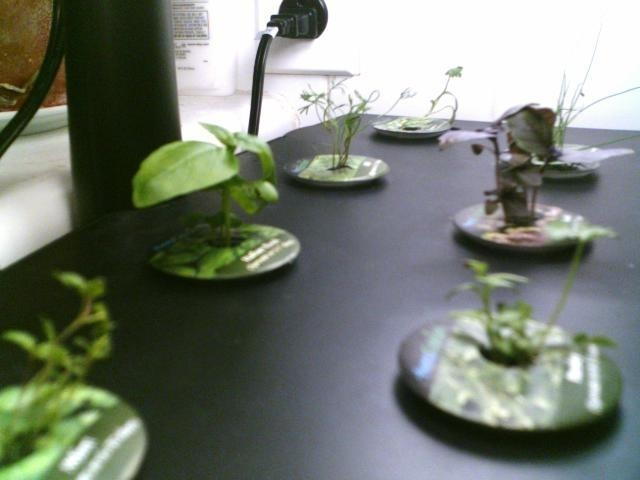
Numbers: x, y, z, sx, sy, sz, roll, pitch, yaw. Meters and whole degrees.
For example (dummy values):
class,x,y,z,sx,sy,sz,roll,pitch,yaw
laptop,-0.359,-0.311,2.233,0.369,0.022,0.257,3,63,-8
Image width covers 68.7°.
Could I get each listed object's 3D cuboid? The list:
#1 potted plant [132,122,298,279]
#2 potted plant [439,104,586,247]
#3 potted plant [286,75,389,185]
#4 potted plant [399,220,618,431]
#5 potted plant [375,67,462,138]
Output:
class,x,y,z,sx,sy,sz,roll,pitch,yaw
potted plant,-0.104,-0.046,0.504,0.181,0.124,0.176,-16,28,-43
potted plant,0.229,-0.081,0.558,0.145,0.160,0.148,-14,20,-8
potted plant,0.035,-0.183,0.813,0.171,0.153,0.183,5,23,12
potted plant,0.145,0.052,0.360,0.171,0.119,0.148,-1,24,8
potted plant,0.248,-0.339,1.141,0.208,0.143,0.160,-10,26,-21
